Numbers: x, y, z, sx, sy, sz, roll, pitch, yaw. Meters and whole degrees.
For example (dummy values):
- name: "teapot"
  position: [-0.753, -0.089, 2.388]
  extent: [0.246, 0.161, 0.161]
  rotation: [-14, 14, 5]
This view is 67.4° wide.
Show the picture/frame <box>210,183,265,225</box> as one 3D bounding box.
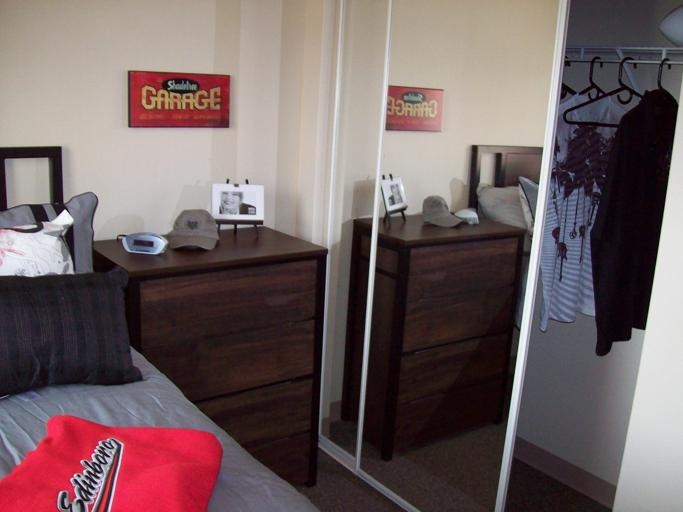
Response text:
- name: "picture/frame"
  position: [-0.542, -0.265, 2.637]
  extent: [0.220, 0.185, 0.023]
  rotation: [-1, 7, -16]

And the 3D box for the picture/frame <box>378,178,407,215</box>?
- name: "picture/frame"
  position: [0.241, -0.285, 2.400]
  extent: [0.129, 0.190, 0.035]
  rotation: [-17, 2, 39]

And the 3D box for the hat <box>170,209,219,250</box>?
- name: "hat"
  position: [-0.691, -0.123, 2.387]
  extent: [0.155, 0.109, 0.227]
  rotation: [2, 6, -7]

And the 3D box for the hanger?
- name: "hanger"
  position: [1.142, -0.653, 2.074]
  extent: [0.033, 0.274, 0.405]
  rotation: [-11, 18, -42]

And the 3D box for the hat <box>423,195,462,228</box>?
- name: "hat"
  position: [0.415, -0.195, 2.188]
  extent: [0.158, 0.085, 0.103]
  rotation: [18, 25, 36]

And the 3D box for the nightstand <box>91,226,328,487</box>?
- name: "nightstand"
  position: [-0.544, 0.369, 2.073]
  extent: [0.939, 1.224, 0.606]
  rotation: [-10, 22, -35]
